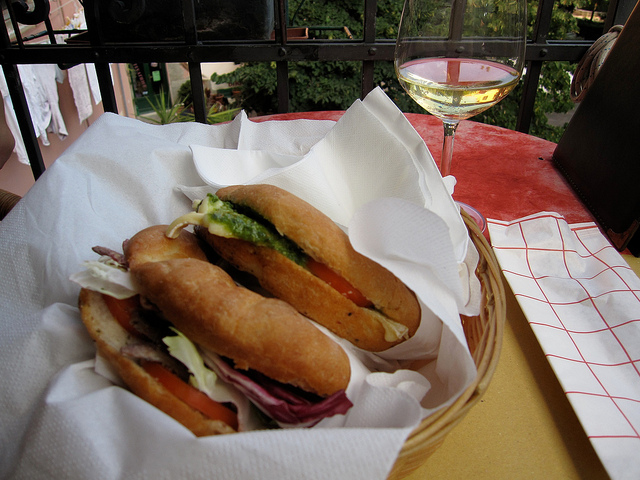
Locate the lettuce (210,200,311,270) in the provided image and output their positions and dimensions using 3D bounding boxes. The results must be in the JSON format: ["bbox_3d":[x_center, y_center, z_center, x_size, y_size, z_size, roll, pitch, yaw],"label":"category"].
[{"bbox_3d":[-0.073,-0.008,0.570,0.111,0.069,0.027,39,87,11],"label":"lettuce"}]

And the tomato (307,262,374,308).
[{"bbox_3d":[0.015,0.062,0.554,0.057,0.059,0.027,37,89,13],"label":"tomato"}]

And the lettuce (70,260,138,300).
[{"bbox_3d":[-0.251,0.048,0.544,0.068,0.046,0.024,20,23,-20],"label":"lettuce"}]

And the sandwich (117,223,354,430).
[{"bbox_3d":[-0.113,0.116,0.586,0.303,0.102,0.161,43,50,2],"label":"sandwich"}]
